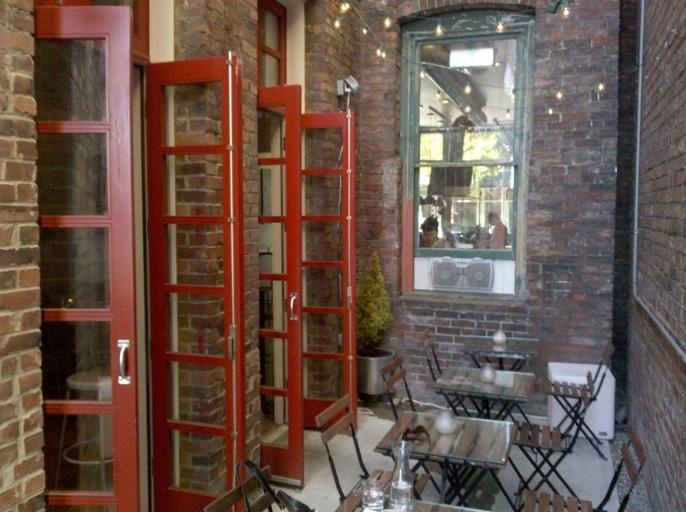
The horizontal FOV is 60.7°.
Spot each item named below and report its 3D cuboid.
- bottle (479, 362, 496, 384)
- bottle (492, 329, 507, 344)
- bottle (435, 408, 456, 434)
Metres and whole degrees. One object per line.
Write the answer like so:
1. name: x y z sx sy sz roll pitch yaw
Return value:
1. bottle: 1.315 1.047 5.315 0.127 0.159 0.138 -1 9 0
2. bottle: 1.632 0.842 6.113 0.133 0.166 0.130 0 7 0
3. bottle: 0.759 1.208 4.358 0.139 0.156 0.146 0 3 38
